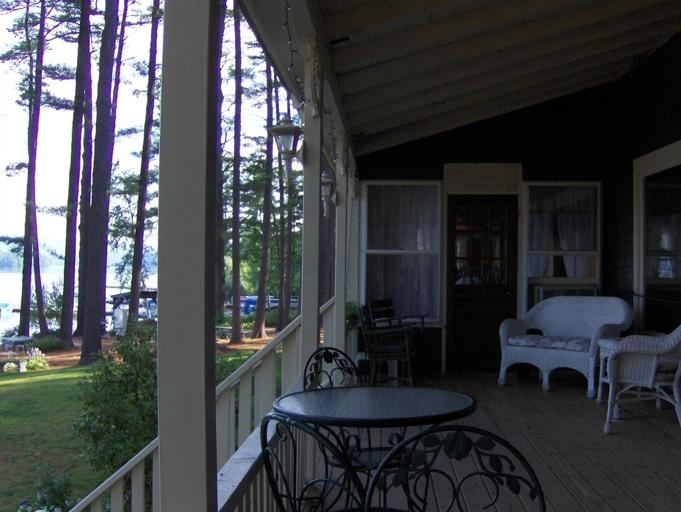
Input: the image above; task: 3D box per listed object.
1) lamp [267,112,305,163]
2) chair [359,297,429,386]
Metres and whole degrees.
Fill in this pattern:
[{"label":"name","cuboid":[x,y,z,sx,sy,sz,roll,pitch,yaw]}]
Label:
[{"label":"lamp","cuboid":[-0.468,-1.020,5.220,0.312,0.496,0.343,-2,6,-5]},{"label":"chair","cuboid":[0.635,1.152,7.934,0.758,1.247,0.899,0,0,3]}]
